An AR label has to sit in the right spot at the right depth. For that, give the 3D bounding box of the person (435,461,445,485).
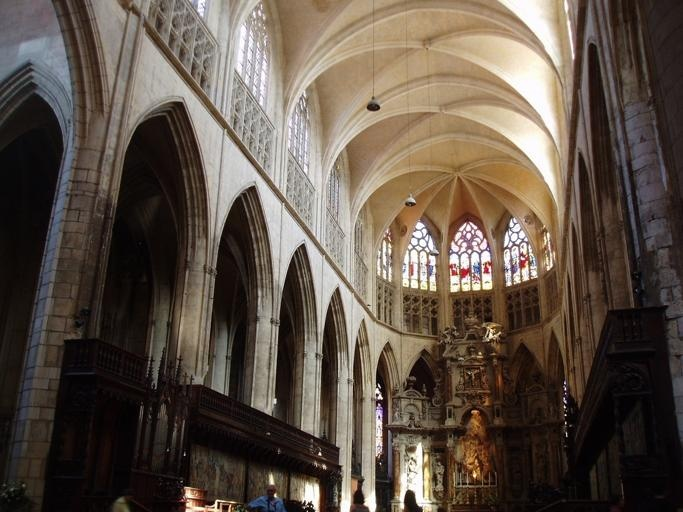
[{"bbox_3d":[5.305,11.549,31.514,0.492,1.207,0.226,1,-22,5],"label":"person"}]
